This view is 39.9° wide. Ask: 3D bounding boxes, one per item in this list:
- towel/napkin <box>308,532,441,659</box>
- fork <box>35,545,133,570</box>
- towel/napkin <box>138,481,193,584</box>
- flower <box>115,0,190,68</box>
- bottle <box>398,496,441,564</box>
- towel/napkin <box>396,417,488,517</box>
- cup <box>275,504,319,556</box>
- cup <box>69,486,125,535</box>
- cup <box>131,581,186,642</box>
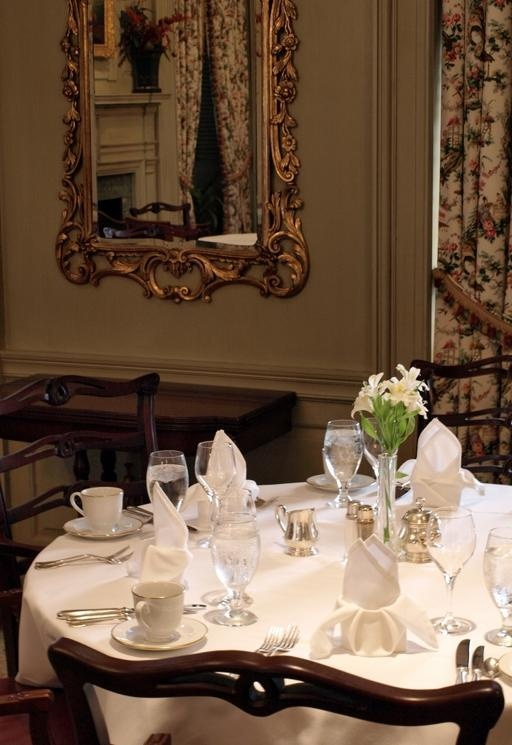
[{"bbox_3d":[0.161,0.303,0.942,0.169,0.137,0.079,4,-11,-16],"label":"towel/napkin"},{"bbox_3d":[-0.309,0.338,1.285,0.131,0.018,0.023,-4,1,-18],"label":"fork"},{"bbox_3d":[-0.147,0.267,1.107,0.084,0.133,0.069,6,-18,-14],"label":"towel/napkin"},{"bbox_3d":[-0.512,-1.578,3.238,0.229,0.294,0.139,6,-1,14],"label":"flower"},{"bbox_3d":[0.308,0.295,1.316,0.082,0.102,0.079,-2,4,0],"label":"bottle"},{"bbox_3d":[0.396,0.197,1.509,0.205,0.202,0.065,3,19,15],"label":"towel/napkin"},{"bbox_3d":[0.078,0.299,1.352,0.096,0.087,0.066,-1,-1,23],"label":"cup"},{"bbox_3d":[-0.325,0.277,1.433,0.103,0.075,0.082,2,3,-6],"label":"cup"},{"bbox_3d":[-0.130,0.316,0.916,0.067,0.059,0.084,-2,-3,20],"label":"cup"}]
